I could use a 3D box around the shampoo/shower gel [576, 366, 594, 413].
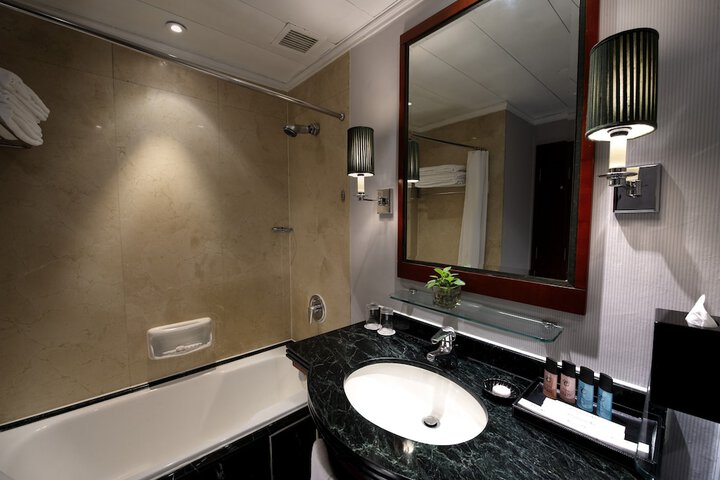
[{"bbox_3d":[1.138,0.735,2.399,0.078,0.210,0.113,4,4,27],"label":"shampoo/shower gel"}]

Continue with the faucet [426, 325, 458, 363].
[{"bbox_3d":[0.466,0.582,2.667,0.103,0.155,0.238,2,6,43],"label":"faucet"}]

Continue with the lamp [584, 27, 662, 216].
[{"bbox_3d":[1.279,-0.530,2.334,0.314,0.837,0.313,5,-4,-43],"label":"lamp"}]

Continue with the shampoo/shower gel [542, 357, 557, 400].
[{"bbox_3d":[0.986,0.700,2.462,0.072,0.198,0.111,4,4,23],"label":"shampoo/shower gel"}]

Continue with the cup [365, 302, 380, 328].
[{"bbox_3d":[0.083,0.485,3.086,0.096,0.157,0.142,2,4,3],"label":"cup"}]

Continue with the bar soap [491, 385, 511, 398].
[{"bbox_3d":[0.735,0.780,2.471,0.096,0.037,0.087,3,4,19],"label":"bar soap"}]

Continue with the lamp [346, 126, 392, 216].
[{"bbox_3d":[0.043,-0.434,3.090,0.284,0.568,0.237,6,5,44],"label":"lamp"}]

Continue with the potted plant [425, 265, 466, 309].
[{"bbox_3d":[0.487,0.268,2.776,0.190,0.214,0.215,-5,13,-4],"label":"potted plant"}]
